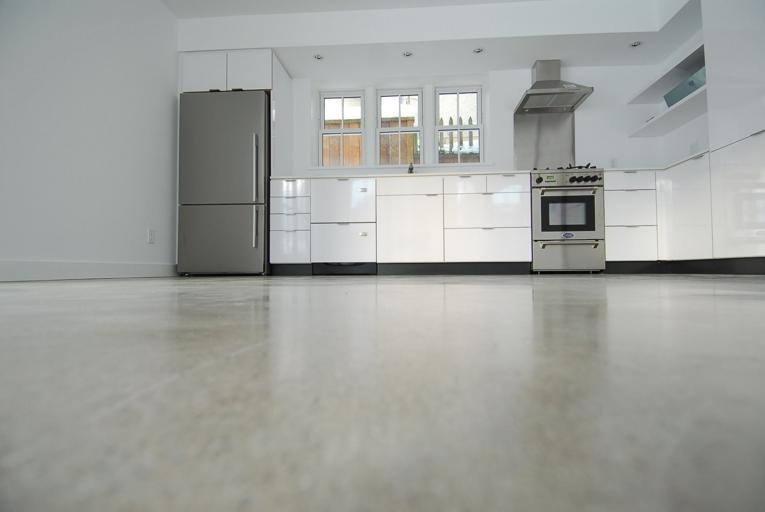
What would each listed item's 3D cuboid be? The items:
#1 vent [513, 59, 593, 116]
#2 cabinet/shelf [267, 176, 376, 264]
[{"bbox_3d":[1.507,-1.592,4.879,0.725,0.370,0.763,-3,-1,-20],"label":"vent"},{"bbox_3d":[-0.498,-0.275,4.710,1.080,0.948,0.641,0,-4,2],"label":"cabinet/shelf"}]
